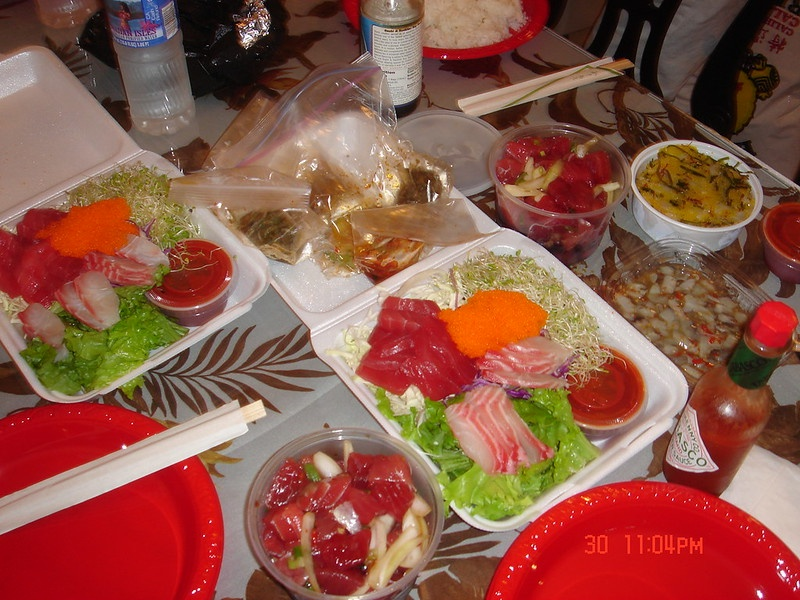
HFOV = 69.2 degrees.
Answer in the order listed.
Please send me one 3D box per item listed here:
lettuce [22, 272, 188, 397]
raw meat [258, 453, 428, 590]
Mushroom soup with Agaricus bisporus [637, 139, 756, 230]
[{"bbox_3d":[-0.750,0.110,1.481,0.382,0.112,0.243,-11,59,-6],"label":"lettuce"},{"bbox_3d":[-0.117,0.478,1.258,0.365,0.079,0.289,7,59,4],"label":"raw meat"},{"bbox_3d":[0.866,-0.321,1.726,0.261,0.057,0.267,-32,62,-16],"label":"Mushroom soup with Agaricus bisporus"}]
